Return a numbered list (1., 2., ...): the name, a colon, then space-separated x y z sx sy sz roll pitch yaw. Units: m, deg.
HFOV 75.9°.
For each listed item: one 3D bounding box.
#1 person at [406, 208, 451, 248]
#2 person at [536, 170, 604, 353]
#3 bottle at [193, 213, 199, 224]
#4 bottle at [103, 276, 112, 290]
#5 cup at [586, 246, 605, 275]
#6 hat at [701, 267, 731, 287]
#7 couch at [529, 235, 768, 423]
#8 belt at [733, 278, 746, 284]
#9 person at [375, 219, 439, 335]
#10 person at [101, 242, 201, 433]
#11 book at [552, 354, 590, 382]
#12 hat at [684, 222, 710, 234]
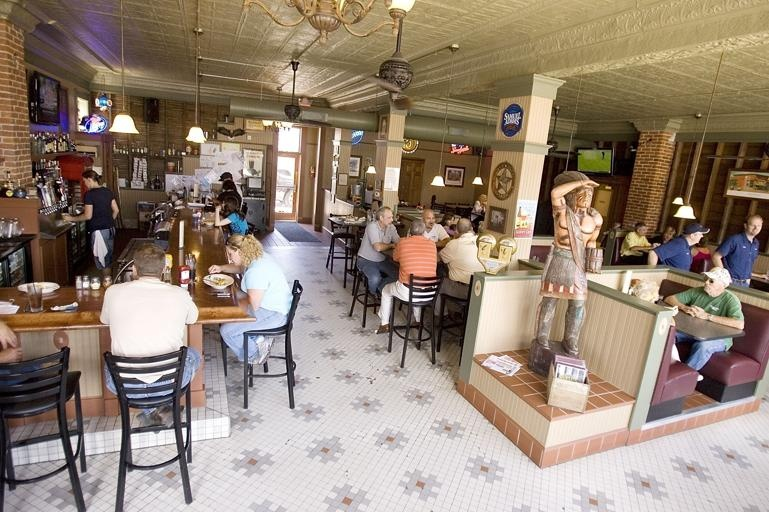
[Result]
1. person: 0.791 -0.310 9.030 0.855 0.972 0.607 2 11 -3
2. person: 2.274 0.096 6.113 0.577 2.186 0.624 8 15 22
3. bottle: -3.331 -0.637 8.694 0.146 0.144 0.146 4 -2 -21
4. bottle: -3.095 0.315 5.511 0.128 0.142 0.126 -1 9 -34
5. cup: 2.628 0.059 6.324 0.270 0.280 0.299 6 11 25
6. hat: 4.532 0.303 6.622 0.375 0.184 0.239 24 13 2
7. couch: 3.576 0.856 6.635 2.479 1.393 2.413 -9 20 -29
8. belt: 5.777 0.413 8.067 0.113 0.085 0.151 -2 -11 44
9. person: 0.443 0.420 7.477 0.801 1.775 0.846 -5 15 -27
10. person: -2.323 0.445 4.834 0.885 1.040 0.440 -2 14 -15
11. book: 2.120 1.307 5.659 0.412 0.262 0.270 5 13 13
12. hat: 4.904 -0.400 7.816 0.271 0.164 0.285 9 14 29
